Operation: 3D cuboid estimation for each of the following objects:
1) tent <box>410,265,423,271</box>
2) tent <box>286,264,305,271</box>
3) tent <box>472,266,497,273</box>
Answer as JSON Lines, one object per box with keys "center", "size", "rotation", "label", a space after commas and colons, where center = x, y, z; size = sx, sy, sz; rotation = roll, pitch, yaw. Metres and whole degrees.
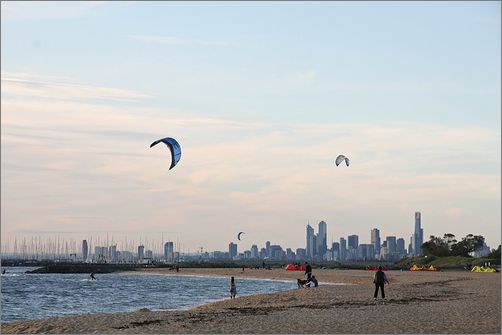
{"center": [29.564, 17.873, 185.536], "size": [2.460, 0.827, 1.628], "rotation": [0, -5, 2], "label": "tent"}
{"center": [8.137, 17.971, 188.361], "size": [2.482, 0.760, 2.174], "rotation": [4, -5, -3], "label": "tent"}
{"center": [39.068, 16.958, 174.037], "size": [2.459, 0.646, 1.820], "rotation": [1, -3, 39], "label": "tent"}
